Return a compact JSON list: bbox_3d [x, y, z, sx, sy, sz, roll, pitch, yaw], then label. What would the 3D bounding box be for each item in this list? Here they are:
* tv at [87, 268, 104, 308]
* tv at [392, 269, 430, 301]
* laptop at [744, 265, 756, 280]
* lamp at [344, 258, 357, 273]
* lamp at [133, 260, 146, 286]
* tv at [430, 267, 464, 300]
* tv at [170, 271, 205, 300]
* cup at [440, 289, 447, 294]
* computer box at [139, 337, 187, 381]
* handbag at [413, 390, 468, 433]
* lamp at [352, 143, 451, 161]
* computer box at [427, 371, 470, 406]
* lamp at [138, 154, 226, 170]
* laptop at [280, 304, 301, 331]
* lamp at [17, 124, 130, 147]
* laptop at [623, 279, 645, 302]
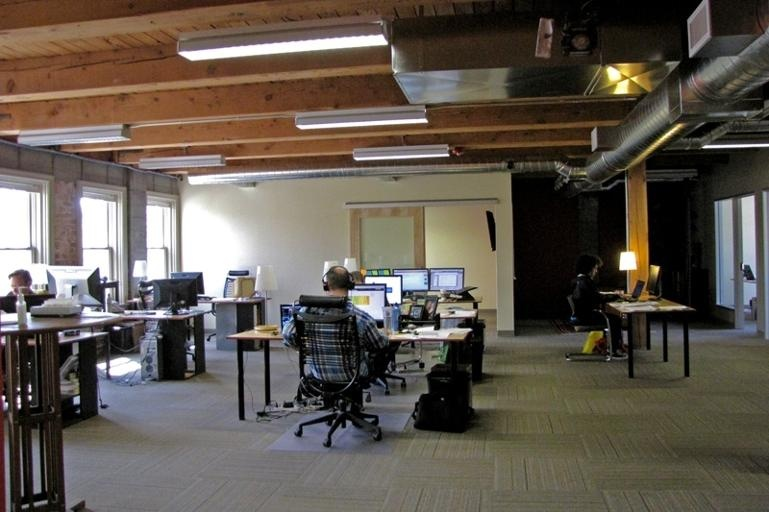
[{"bbox_3d":[-3.771,0.425,8.167,0.171,0.495,0.519,-1,4,-34],"label":"tv"},{"bbox_3d":[0.445,0.465,10.171,0.503,0.336,0.069,0,1,8],"label":"tv"},{"bbox_3d":[7.871,0.371,13.557,0.324,0.294,0.087,10,-24,-29],"label":"laptop"},{"bbox_3d":[-0.683,0.171,12.190,0.306,0.282,0.303,-2,-5,20],"label":"lamp"},{"bbox_3d":[-4.571,0.324,11.744,0.269,0.511,0.553,-4,9,-22],"label":"lamp"},{"bbox_3d":[1.088,0.422,10.924,0.765,0.480,0.410,0,-4,5],"label":"tv"},{"bbox_3d":[-3.072,0.455,9.770,0.560,0.172,0.452,10,-34,-9],"label":"tv"},{"bbox_3d":[1.018,0.604,10.827,0.097,0.054,0.133,1,-1,3],"label":"cup"},{"bbox_3d":[-3.416,1.516,9.495,0.488,0.596,0.635,-1,-1,11],"label":"computer box"},{"bbox_3d":[0.628,1.754,7.056,0.746,0.498,0.395,0,5,13],"label":"handbag"},{"bbox_3d":[0.341,-1.777,10.938,1.549,0.259,1.154,1,8,9],"label":"lamp"},{"bbox_3d":[0.717,1.519,7.362,0.456,0.372,0.371,2,2,4],"label":"computer box"},{"bbox_3d":[-3.491,-1.623,10.844,1.630,0.195,0.365,2,9,19],"label":"lamp"},{"bbox_3d":[-1.068,0.695,7.187,0.043,0.360,0.402,17,-9,-14],"label":"laptop"},{"bbox_3d":[-4.409,-1.808,8.991,1.469,0.189,0.255,0,-15,12],"label":"lamp"},{"bbox_3d":[4.142,0.579,10.361,0.332,0.287,0.401,-6,-3,2],"label":"laptop"}]
